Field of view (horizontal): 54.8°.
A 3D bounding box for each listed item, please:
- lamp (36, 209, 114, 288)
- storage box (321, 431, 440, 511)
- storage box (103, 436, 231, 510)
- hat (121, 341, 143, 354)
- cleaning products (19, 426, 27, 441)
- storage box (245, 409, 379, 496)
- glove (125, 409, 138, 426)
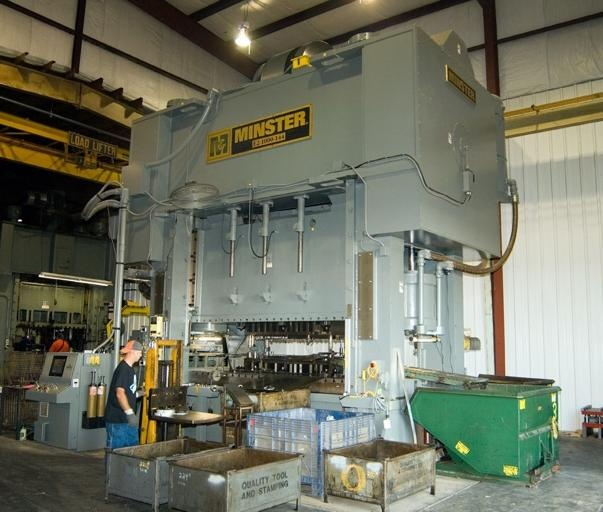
[{"bbox_3d":[-5.467,0.124,13.640,0.976,1.216,1.761,-6,-11,39],"label":"lamp"},{"bbox_3d":[0.826,2.301,6.200,0.935,0.579,0.981,-8,-12,38],"label":"storage box"},{"bbox_3d":[-1.443,2.212,6.086,0.695,0.481,0.939,-5,-9,38],"label":"storage box"},{"bbox_3d":[-2.045,1.073,6.961,0.244,0.143,0.158,4,-4,5],"label":"hat"},{"bbox_3d":[-4.347,2.774,9.077,0.087,0.184,0.202,2,-10,-14],"label":"cleaning products"},{"bbox_3d":[0.189,1.970,6.553,1.004,0.672,1.032,-5,-8,40],"label":"storage box"},{"bbox_3d":[-1.916,1.812,6.559,0.153,0.155,0.138,4,1,40],"label":"glove"}]
